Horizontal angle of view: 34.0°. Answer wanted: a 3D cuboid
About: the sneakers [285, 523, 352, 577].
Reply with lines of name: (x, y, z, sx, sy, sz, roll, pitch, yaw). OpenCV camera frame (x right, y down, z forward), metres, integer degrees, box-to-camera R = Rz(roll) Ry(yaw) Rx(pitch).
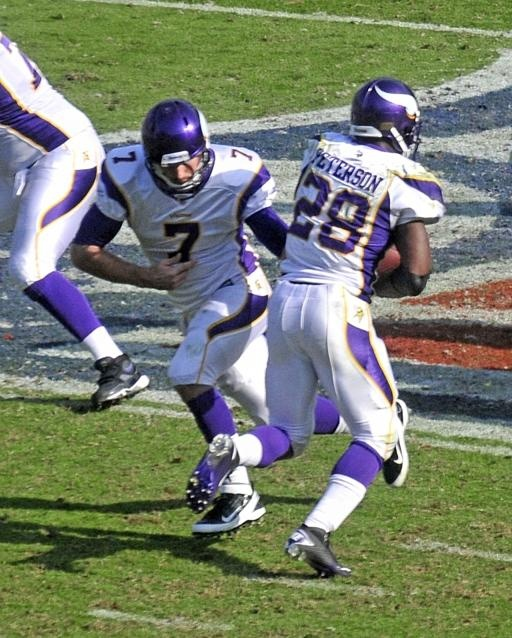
sneakers: (0.206, 0.765, 2.760, 0.117, 0.300, 0.131, -22, 41, 22)

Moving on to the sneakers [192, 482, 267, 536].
sneakers: (-0.116, 0.727, 3.260, 0.150, 0.148, 0.411, 10, 11, 32)

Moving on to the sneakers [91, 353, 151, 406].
sneakers: (-0.713, 0.281, 4.153, 0.147, 0.211, 0.370, -7, 15, 28)

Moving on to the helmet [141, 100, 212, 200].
helmet: (-0.326, -0.673, 3.198, 0.301, 0.305, 0.328, -13, 51, -11)

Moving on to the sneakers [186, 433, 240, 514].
sneakers: (-0.139, 0.510, 2.771, 0.109, 0.286, 0.187, 19, 37, 17)
